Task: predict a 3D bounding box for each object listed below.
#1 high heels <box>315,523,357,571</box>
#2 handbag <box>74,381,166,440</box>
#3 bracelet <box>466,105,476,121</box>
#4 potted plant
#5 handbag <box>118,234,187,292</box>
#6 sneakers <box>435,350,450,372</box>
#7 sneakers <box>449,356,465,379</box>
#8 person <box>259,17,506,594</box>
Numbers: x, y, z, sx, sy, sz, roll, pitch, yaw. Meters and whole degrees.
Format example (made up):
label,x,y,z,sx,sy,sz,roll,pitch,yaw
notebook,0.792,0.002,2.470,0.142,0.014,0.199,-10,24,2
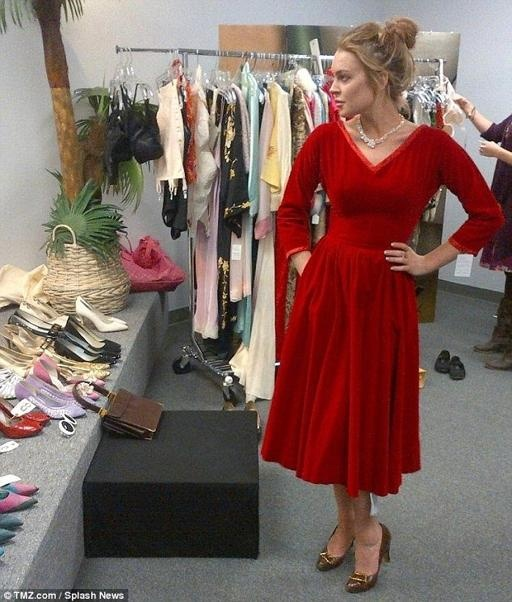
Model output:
label,x,y,z,sx,sy,sz,roll,pitch,yaw
high heels,0.266,0.806,1.578,0.067,0.076,0.199,9,14,30
handbag,-0.485,0.390,1.677,0.256,0.055,0.177,19,32,-7
bracelet,1.394,-1.217,3.093,0.059,0.081,0.030,-13,26,-42
potted plant,-0.887,-0.256,2.466,0.432,0.694,0.442,-1,15,-15
handbag,-0.644,-0.232,2.999,0.390,0.146,0.361,-4,69,-9
sneakers,1.217,0.410,3.107,0.082,0.052,0.150,-3,48,39
sneakers,1.276,0.430,3.046,0.078,0.038,0.158,-3,38,9
person,0.268,-0.073,1.208,0.562,1.153,0.319,13,17,35
